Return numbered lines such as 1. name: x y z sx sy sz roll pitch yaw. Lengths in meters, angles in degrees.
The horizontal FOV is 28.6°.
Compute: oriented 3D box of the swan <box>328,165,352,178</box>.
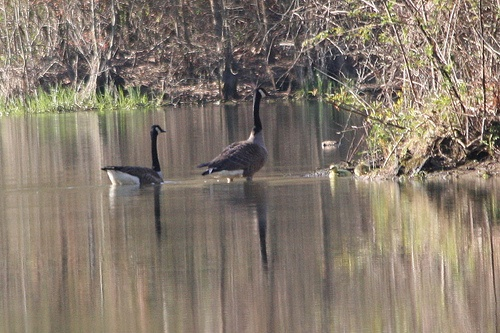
1. swan: 1.933 0.124 21.292 0.370 0.140 0.268 5 -2 -21
